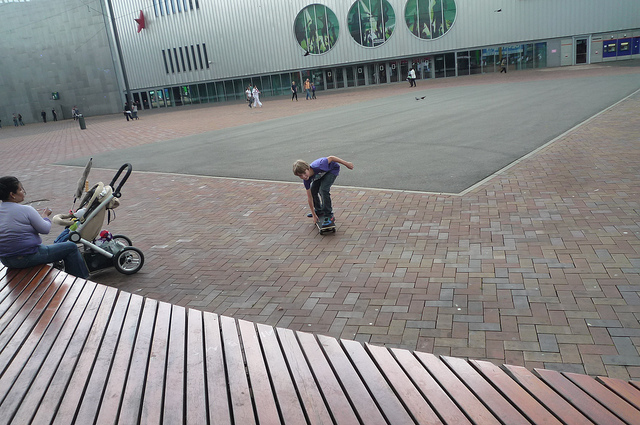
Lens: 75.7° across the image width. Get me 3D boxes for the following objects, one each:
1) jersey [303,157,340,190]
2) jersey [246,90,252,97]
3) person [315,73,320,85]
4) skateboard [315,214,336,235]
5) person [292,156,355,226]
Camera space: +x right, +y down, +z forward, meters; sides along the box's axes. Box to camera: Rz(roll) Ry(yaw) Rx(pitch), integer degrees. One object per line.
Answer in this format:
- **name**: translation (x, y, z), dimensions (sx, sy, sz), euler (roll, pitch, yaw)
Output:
- **jersey**: translation (0.079, -0.788, 8.017), dimensions (0.527, 0.205, 0.735), euler (-23, -1, 34)
- **jersey**: translation (-6.835, -11.477, 39.857), dimensions (0.369, 0.695, 1.104), euler (-10, 20, -6)
- **person**: translation (-0.440, -17.087, 52.924), dimensions (0.686, 1.327, 0.205), euler (5, 25, 29)
- **skateboard**: translation (0.105, 0.234, 8.028), dimensions (0.330, 0.249, 0.510), euler (-8, 20, -5)
- **person**: translation (0.043, -0.381, 8.100), dimensions (0.659, 1.352, 0.828), euler (9, 26, 35)
